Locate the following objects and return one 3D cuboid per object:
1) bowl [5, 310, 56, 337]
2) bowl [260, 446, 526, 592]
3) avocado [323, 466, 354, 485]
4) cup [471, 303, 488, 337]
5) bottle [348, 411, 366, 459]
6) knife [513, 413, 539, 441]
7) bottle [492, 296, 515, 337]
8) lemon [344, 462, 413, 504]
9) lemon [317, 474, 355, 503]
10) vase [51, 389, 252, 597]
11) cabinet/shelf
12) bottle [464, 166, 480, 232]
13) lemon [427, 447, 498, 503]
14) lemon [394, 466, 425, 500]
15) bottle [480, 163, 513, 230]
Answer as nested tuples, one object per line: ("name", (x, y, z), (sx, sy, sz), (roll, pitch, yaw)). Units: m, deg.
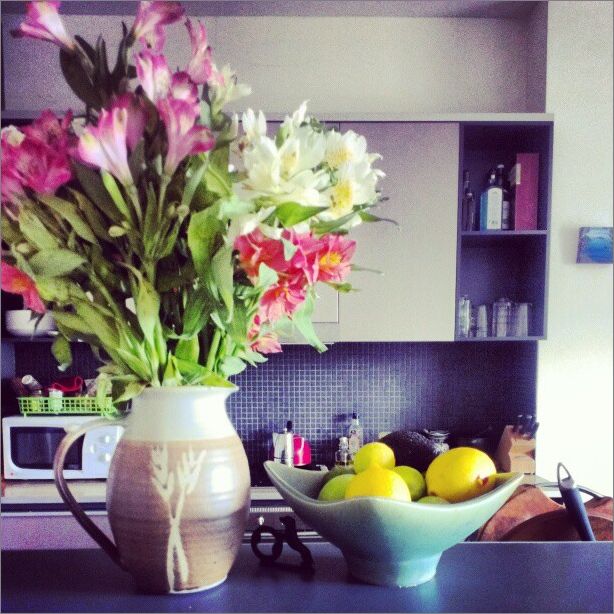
("bowl", (-0.869, 0.055, 1.963), (0.074, 0.044, 0.094), (0, -12, -2))
("bowl", (0.089, 0.247, 0.715), (0.236, 0.124, 0.242), (0, -7, 0))
("avocado", (0.041, 0.213, 0.802), (0.028, 0.020, 0.024), (-4, 10, 23))
("cup", (0.715, 0.060, 2.570), (0.073, 0.165, 0.279), (-1, -7, 16))
("bottle", (0.213, 0.557, 2.747), (0.067, 0.076, 0.284), (3, -43, 6))
("knife", (0.863, 0.474, 2.456), (0.077, 0.116, 0.032), (-4, 15, -11))
("bottle", (0.773, 0.051, 2.461), (0.103, 0.216, 0.117), (0, -1, 28))
("lemon", (0.076, 0.188, 0.654), (0.042, 0.050, 0.045), (-8, -13, 33))
("lemon", (0.035, 0.210, 0.717), (0.039, 0.027, 0.027), (-18, 4, -25))
("vase", (-0.170, 0.205, 0.702), (0.193, 0.225, 0.163), (-2, -7, -10))
("cabinet/shelf", (0.808, -0.286, 2.581), (0.318, 0.889, 0.243), (2, -6, 12))
("bottle", (0.685, -0.443, 2.607), (0.053, 0.309, 0.247), (-1, -6, 16))
("lemon", (0.174, 0.183, 0.719), (0.065, 0.060, 0.055), (-12, -6, -16))
("lemon", (0.120, 0.203, 0.730), (0.025, 0.032, 0.034), (3, 1, 14))
("bottle", (0.763, -0.430, 2.532), (0.120, 0.298, 0.228), (-1, -6, 16))
